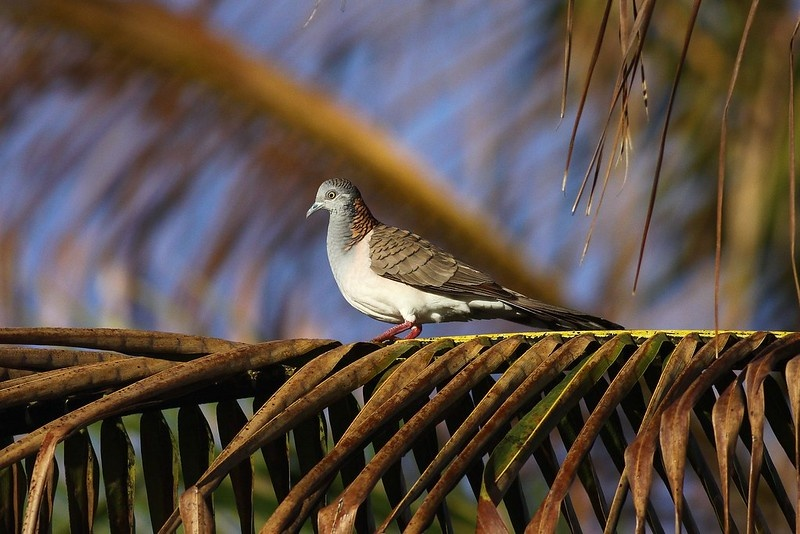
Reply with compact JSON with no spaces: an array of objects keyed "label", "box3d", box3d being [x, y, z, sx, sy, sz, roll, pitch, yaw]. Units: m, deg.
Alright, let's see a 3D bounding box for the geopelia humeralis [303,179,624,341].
[{"label":"geopelia humeralis","box3d":[0.347,0.003,10.027,2.008,1.067,0.586,2,-6,-10]}]
